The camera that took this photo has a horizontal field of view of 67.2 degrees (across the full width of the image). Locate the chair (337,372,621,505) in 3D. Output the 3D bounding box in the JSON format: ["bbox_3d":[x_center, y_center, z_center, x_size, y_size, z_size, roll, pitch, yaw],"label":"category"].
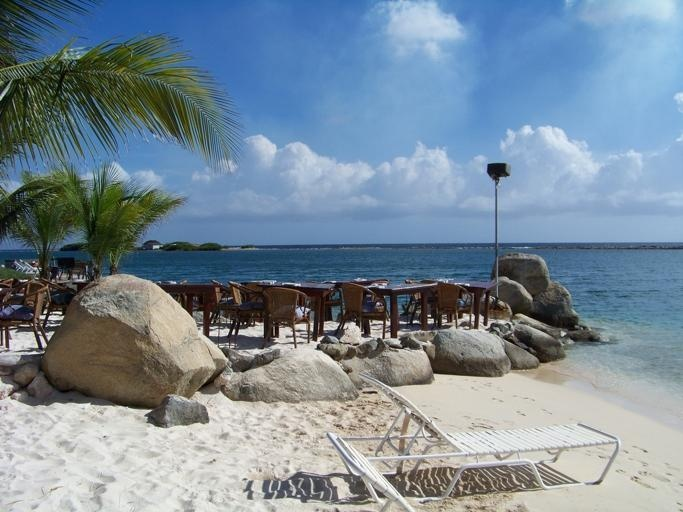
[{"bbox_3d":[1.166,1.747,4.773,2.436,0.915,1.212,-2,0,-11],"label":"chair"}]
